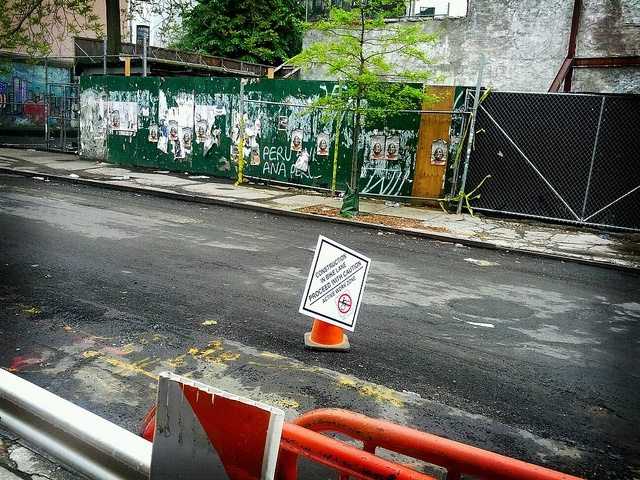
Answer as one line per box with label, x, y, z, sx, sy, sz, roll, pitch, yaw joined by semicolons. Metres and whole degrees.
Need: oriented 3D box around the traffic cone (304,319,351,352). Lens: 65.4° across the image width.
traffic cone;0.095;1.176;5.961;0.468;0.540;0.388;0;14;-3
